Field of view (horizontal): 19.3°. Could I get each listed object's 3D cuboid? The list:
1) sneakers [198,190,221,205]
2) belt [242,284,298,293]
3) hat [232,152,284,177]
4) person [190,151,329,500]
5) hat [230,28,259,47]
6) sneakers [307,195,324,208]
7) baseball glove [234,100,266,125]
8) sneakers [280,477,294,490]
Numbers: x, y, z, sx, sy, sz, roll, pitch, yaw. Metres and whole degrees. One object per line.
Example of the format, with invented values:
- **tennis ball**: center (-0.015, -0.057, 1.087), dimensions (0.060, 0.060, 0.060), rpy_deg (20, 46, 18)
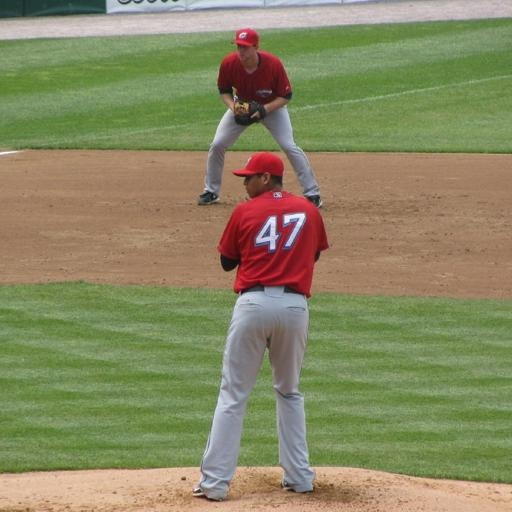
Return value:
- **sneakers**: center (-0.624, -0.723, 19.474), dimensions (0.116, 0.156, 0.322), rpy_deg (0, 1, 16)
- **belt**: center (0.115, 0.340, 14.313), dimensions (0.529, 0.093, 0.059), rpy_deg (1, 8, 7)
- **hat**: center (0.042, -0.873, 14.629), dimensions (0.405, 0.250, 0.266), rpy_deg (5, 4, 7)
- **person**: center (0.054, 0.679, 14.411), dimensions (1.173, 3.245, 0.820), rpy_deg (0, 8, -1)
- **hat**: center (-0.090, -2.627, 18.134), dimensions (0.188, 0.172, 0.275), rpy_deg (11, 7, 14)
- **sneakers**: center (0.779, -0.674, 19.180), dimensions (0.297, 0.143, 0.101), rpy_deg (19, -6, -36)
- **baseball glove**: center (-0.107, -1.764, 18.574), dimensions (0.250, 0.236, 0.321), rpy_deg (-1, 8, -8)
- **sneakers**: center (0.302, 2.215, 14.461), dimensions (0.055, 0.074, 0.151), rpy_deg (-4, 25, -21)
